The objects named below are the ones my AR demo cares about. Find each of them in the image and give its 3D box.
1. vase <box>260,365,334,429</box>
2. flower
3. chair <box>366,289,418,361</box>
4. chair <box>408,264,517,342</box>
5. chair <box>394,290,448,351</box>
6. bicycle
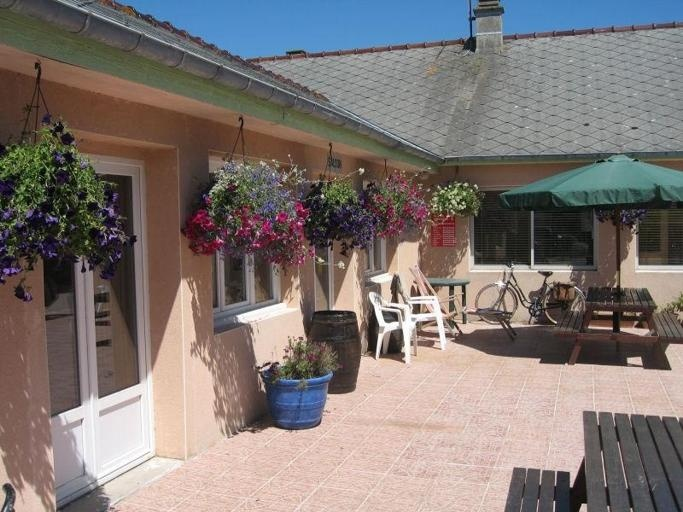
[{"bbox_3d":[-0.485,1.452,6.237,0.632,0.496,0.642,0,-5,-4],"label":"vase"},{"bbox_3d":[-0.434,1.103,6.220,0.596,0.394,0.544,-1,4,5],"label":"flower"},{"bbox_3d":[0.791,1.057,9.366,0.848,1.293,0.928,0,2,20],"label":"chair"},{"bbox_3d":[2.213,0.841,10.726,2.091,1.598,1.002,-1,6,12],"label":"chair"},{"bbox_3d":[1.424,1.014,9.921,0.938,1.392,0.848,-2,2,11],"label":"chair"},{"bbox_3d":[3.443,0.687,11.117,1.970,1.279,1.043,3,3,16],"label":"bicycle"}]
